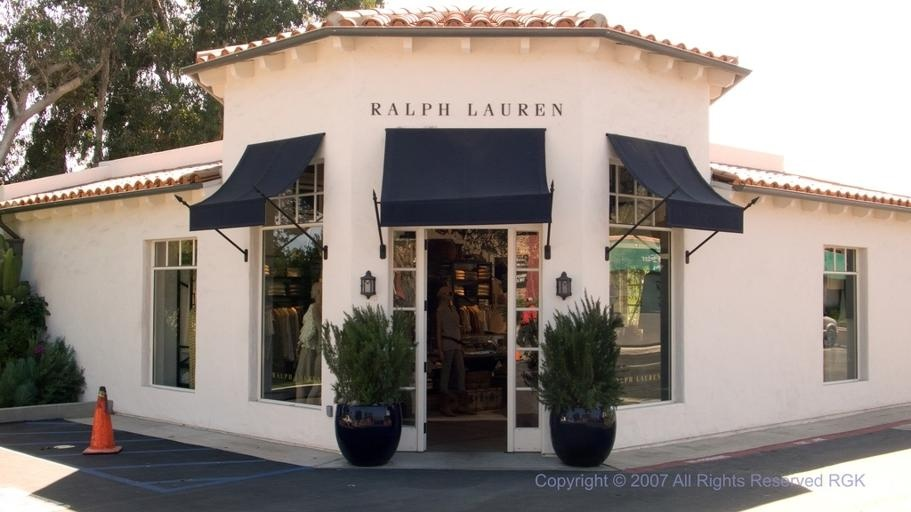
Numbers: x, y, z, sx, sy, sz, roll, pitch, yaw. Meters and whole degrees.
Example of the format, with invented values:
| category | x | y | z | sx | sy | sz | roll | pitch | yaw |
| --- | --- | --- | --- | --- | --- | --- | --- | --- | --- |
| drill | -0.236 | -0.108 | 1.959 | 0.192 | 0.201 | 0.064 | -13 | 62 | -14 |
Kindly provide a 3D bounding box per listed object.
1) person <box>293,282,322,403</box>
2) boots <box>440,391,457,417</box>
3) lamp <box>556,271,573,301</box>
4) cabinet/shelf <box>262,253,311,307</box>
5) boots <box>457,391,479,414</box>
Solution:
| category | x | y | z | sx | sy | sz | roll | pitch | yaw |
| --- | --- | --- | --- | --- | --- | --- | --- | --- | --- |
| person | -3.448 | 2.038 | 21.946 | 0.781 | 2.835 | 0.280 | -5 | -7 | 45 |
| boots | -0.152 | 3.808 | 23.885 | 0.417 | 0.634 | 0.346 | 1 | -5 | -1 |
| lamp | 2.523 | 0.695 | 21.094 | 0.525 | 0.776 | 0.504 | 0 | 1 | -7 |
| cabinet/shelf | -3.982 | 0.553 | 22.153 | 1.317 | 1.176 | 0.431 | 1 | 2 | 11 |
| boots | 0.325 | 3.828 | 24.071 | 0.698 | 0.689 | 0.400 | -2 | 1 | -11 |
